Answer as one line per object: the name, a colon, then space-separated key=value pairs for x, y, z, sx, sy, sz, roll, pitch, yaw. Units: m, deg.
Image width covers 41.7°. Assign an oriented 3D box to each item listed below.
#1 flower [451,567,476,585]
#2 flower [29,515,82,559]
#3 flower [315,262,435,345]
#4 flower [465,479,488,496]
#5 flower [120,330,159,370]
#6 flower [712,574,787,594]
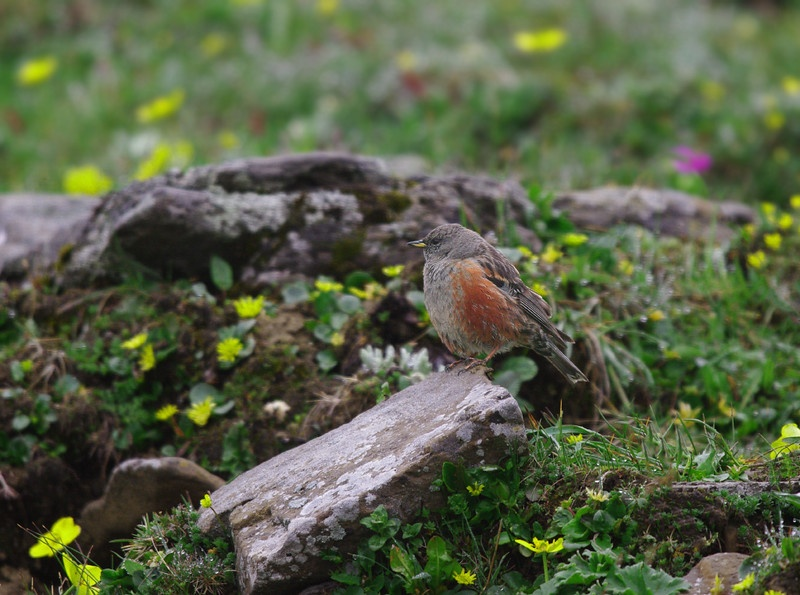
flower: x=0.410 y=1.771 z=6.652 sx=0.105 sy=0.118 sz=0.054 roll=15 pitch=57 yaw=-6
flower: x=-2.449 y=1.700 z=7.360 sx=0.289 sy=0.144 sz=0.281 roll=-31 pitch=10 yaw=21
flower: x=-0.246 y=0.048 z=7.826 sx=0.675 sy=0.248 sz=0.652 roll=9 pitch=39 yaw=-16
flower: x=0.489 y=1.238 z=6.782 sx=0.122 sy=0.111 sz=0.052 roll=-21 pitch=26 yaw=-4
flower: x=-1.841 y=0.393 z=7.450 sx=0.199 sy=0.260 sz=0.122 roll=-25 pitch=27 yaw=-11
flower: x=2.083 y=1.770 z=6.448 sx=0.250 sy=0.053 sz=0.197 roll=0 pitch=-3 yaw=-5
